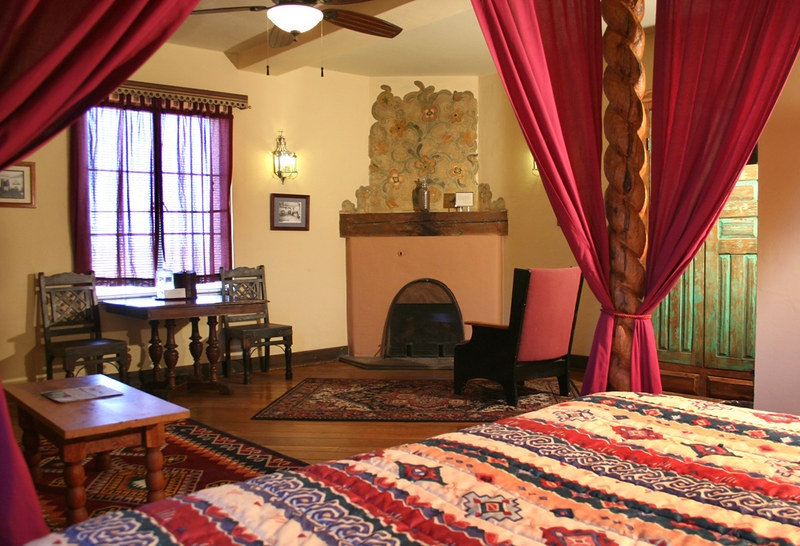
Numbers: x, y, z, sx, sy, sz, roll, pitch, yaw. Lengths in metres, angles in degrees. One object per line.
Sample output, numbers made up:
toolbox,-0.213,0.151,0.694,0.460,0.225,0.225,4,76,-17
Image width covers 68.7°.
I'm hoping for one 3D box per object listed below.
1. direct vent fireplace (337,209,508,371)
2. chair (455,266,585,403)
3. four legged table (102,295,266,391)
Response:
direct vent fireplace,0.319,0.179,6.555,2.390,1.555,0.730,0,1,3
chair,1.136,0.447,5.390,1.205,1.283,1.301,0,2,-41
four legged table,-2.016,0.501,5.460,1.278,0.740,1.070,-1,4,-35
